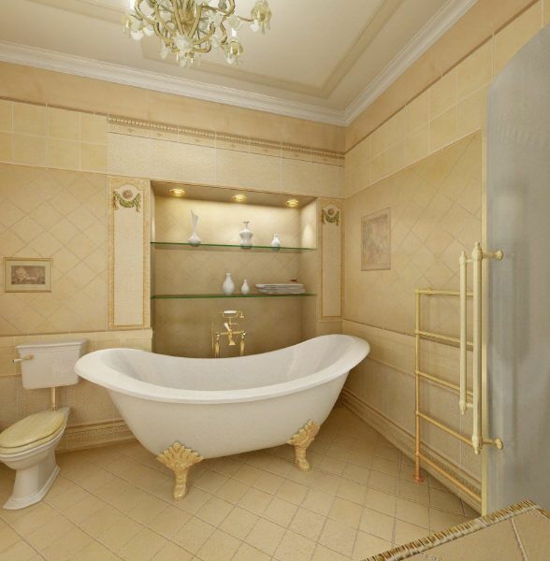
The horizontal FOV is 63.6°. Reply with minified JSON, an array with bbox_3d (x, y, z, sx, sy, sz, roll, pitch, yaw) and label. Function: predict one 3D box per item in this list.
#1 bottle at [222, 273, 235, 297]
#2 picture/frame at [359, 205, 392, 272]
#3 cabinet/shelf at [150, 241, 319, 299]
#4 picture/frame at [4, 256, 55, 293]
[{"bbox_3d":[-0.396,0.033,3.742,0.094,0.173,0.284,-2,12,-5],"label":"bottle"},{"bbox_3d":[0.757,-0.279,3.335,0.021,0.442,0.436,7,14,42],"label":"picture/frame"},{"bbox_3d":[-0.358,-0.060,3.716,1.300,0.428,0.330,1,-4,-13],"label":"cabinet/shelf"},{"bbox_3d":[-1.644,-0.036,2.936,0.246,0.231,0.027,0,-2,-25],"label":"picture/frame"}]
